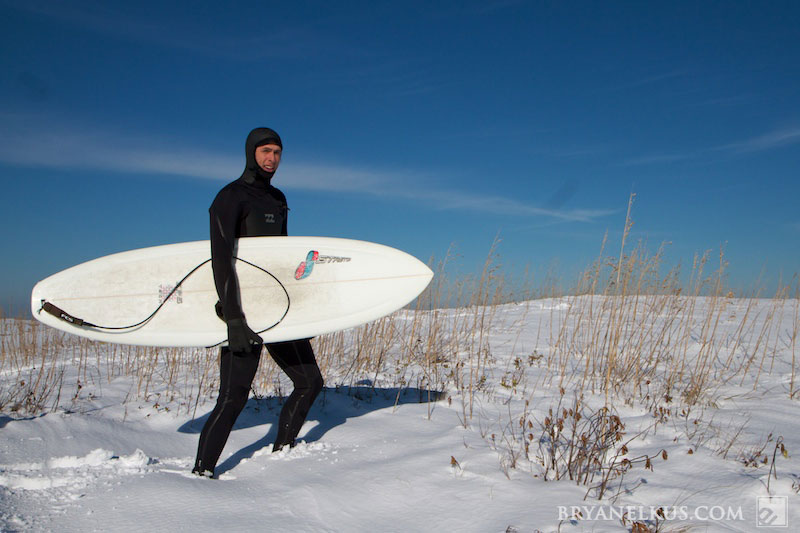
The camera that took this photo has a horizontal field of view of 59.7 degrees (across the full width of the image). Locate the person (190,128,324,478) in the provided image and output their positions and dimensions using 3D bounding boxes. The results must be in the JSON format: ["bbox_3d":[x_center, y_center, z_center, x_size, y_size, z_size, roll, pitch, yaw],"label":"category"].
[{"bbox_3d":[-1.388,0.329,6.878,1.092,3.429,0.795,8,-2,10],"label":"person"}]
